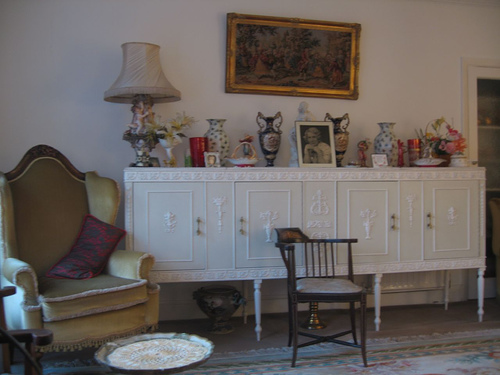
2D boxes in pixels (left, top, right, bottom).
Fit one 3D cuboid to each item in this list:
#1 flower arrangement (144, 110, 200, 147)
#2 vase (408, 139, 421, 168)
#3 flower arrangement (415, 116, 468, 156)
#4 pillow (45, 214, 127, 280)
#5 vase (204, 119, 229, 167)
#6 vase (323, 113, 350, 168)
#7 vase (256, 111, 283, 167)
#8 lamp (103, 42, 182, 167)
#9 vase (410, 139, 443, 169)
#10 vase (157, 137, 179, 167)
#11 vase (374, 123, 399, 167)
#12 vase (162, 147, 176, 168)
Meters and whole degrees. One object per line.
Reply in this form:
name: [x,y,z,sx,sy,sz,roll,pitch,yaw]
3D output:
flower arrangement: [-0.730,-0.607,5.080,0.257,0.150,0.352,17,-10,-38]
vase: [1.765,-0.366,5.550,0.133,0.298,0.280,0,4,17]
flower arrangement: [2.106,-0.571,5.760,0.561,0.452,0.469,2,3,1]
pillow: [-1.509,0.525,4.721,0.454,0.519,0.581,2,4,36]
vase: [-0.328,-0.454,5.250,0.236,0.473,0.219,-2,4,-14]
vase: [0.925,-0.509,5.525,0.265,0.583,0.512,0,3,10]
vase: [0.209,-0.508,5.397,0.279,0.591,0.476,-1,3,2]
lamp: [-1.013,-0.812,5.154,0.921,1.149,0.789,1,2,0]
vase: [1.888,-0.327,5.539,0.361,0.294,0.345,1,-2,-38]
vase: [-0.791,-0.344,5.093,0.255,0.294,0.226,0,3,33]
vase: [1.455,-0.450,5.512,0.255,0.470,0.195,0,4,13]
vase: [-0.801,-0.293,5.142,0.130,0.200,0.568,-1,3,-8]
